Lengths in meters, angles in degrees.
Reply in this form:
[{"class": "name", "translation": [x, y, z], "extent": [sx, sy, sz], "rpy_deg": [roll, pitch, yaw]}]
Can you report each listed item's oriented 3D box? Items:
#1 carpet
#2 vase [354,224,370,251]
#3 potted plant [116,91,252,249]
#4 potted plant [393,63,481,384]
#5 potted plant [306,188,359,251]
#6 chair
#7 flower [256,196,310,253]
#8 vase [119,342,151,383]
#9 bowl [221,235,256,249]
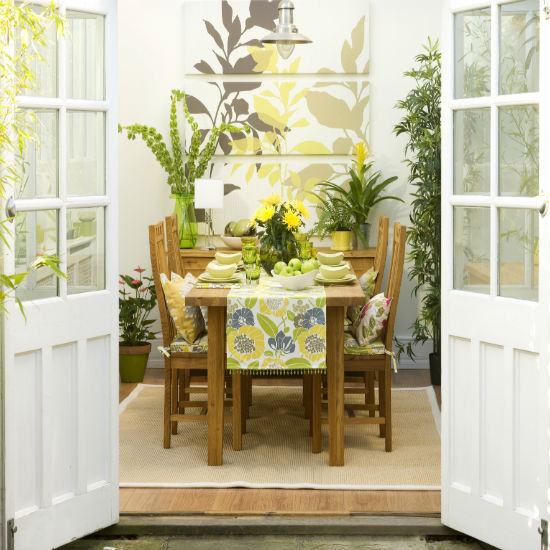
[{"class": "carpet", "translation": [0.026, 0.922, 3.224], "extent": [2.008, 0.043, 1.401], "rpy_deg": [0, 5, 3]}, {"class": "vase", "translation": [0.674, -0.299, 4.336], "extent": [0.136, 0.197, 0.158], "rpy_deg": [0, 0, 0]}, {"class": "potted plant", "translation": [-0.710, -0.896, 4.425], "extent": [1.062, 1.556, 0.532], "rpy_deg": [0, 4, 4]}, {"class": "potted plant", "translation": [1.099, -0.441, 4.287], "extent": [0.359, 2.538, 0.721], "rpy_deg": [1, 4, 13]}, {"class": "potted plant", "translation": [0.452, -0.428, 4.437], "extent": [0.374, 0.527, 0.467], "rpy_deg": [0, 5, 2]}, {"class": "chair", "translation": [0.017, 0.241, 3.412], "extent": [1.338, 1.505, 1.187], "rpy_deg": [-1, 7, 2]}, {"class": "flower", "translation": [-0.008, -0.298, 3.201], "extent": [0.306, 0.428, 0.294], "rpy_deg": [3, 4, 29]}, {"class": "vase", "translation": [-1.127, 0.653, 4.368], "extent": [0.268, 0.291, 0.276], "rpy_deg": [19, 8, 42]}, {"class": "bowl", "translation": [-0.315, -0.249, 4.246], "extent": [0.166, 0.079, 0.191], "rpy_deg": [-1, 2, 8]}]
